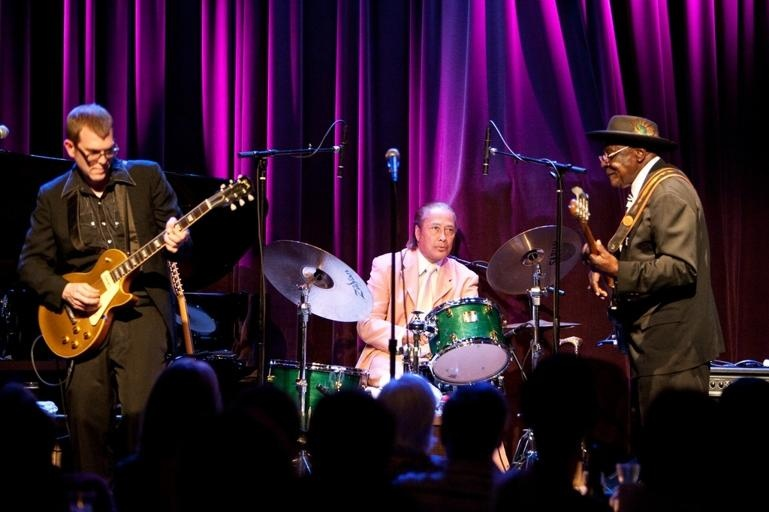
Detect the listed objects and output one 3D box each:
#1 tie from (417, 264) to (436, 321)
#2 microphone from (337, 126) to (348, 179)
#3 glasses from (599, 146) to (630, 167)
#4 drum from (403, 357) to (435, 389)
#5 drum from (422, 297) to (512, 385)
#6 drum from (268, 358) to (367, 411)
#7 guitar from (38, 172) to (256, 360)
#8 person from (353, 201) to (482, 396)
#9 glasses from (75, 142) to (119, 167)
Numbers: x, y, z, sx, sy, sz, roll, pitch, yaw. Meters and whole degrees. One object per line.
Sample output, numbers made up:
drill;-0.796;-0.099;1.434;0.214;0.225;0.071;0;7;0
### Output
tie;0.360;0.276;6.685;0.185;0.371;0.082;7;-7;10
microphone;-0.341;-0.828;6.663;0.126;0.088;0.499;0;-51;-6
glasses;1.617;-0.719;5.616;0.133;0.045;0.133;-37;-3;-17
drum;0.277;0.917;6.175;0.196;0.251;0.224;2;1;-13
drum;0.724;0.550;6.044;0.630;0.408;0.676;-1;-14;0
drum;-0.483;1.042;6.379;0.453;0.243;0.520;24;-24;-37
guitar;-1.692;0.079;5.604;1.415;0.526;0.205;-40;-15;-12
person;0.327;0.392;6.624;0.809;1.798;1.090;3;-26;12
glasses;-1.871;-0.670;5.272;0.155;0.057;0.175;1;-50;-29
